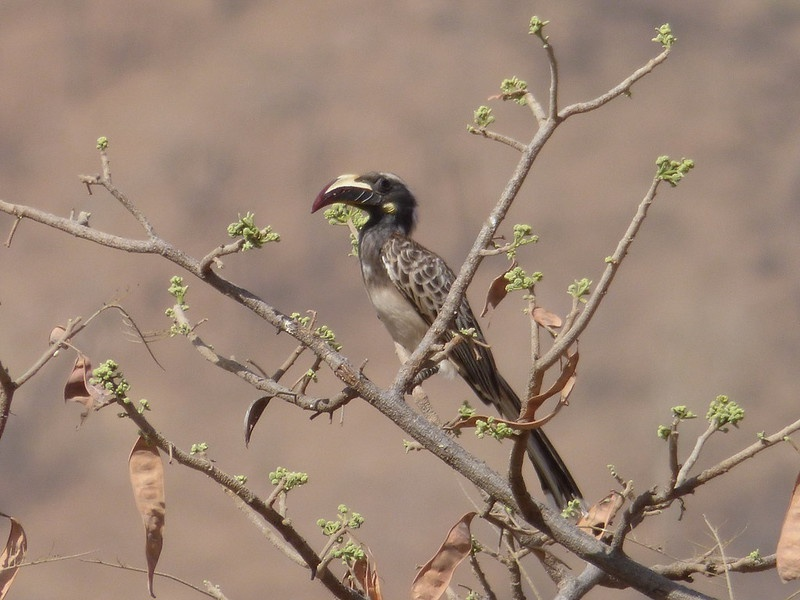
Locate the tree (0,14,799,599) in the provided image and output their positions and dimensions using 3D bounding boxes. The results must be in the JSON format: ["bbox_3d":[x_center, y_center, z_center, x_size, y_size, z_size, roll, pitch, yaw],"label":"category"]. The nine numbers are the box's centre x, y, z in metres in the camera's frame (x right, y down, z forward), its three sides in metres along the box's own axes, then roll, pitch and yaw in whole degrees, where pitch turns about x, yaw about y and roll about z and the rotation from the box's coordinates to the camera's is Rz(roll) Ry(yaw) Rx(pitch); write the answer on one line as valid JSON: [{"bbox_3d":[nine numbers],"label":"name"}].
[{"bbox_3d":[0.143,0.106,4.009,1.958,1.200,1.955,-18,-69,17],"label":"tree"}]
